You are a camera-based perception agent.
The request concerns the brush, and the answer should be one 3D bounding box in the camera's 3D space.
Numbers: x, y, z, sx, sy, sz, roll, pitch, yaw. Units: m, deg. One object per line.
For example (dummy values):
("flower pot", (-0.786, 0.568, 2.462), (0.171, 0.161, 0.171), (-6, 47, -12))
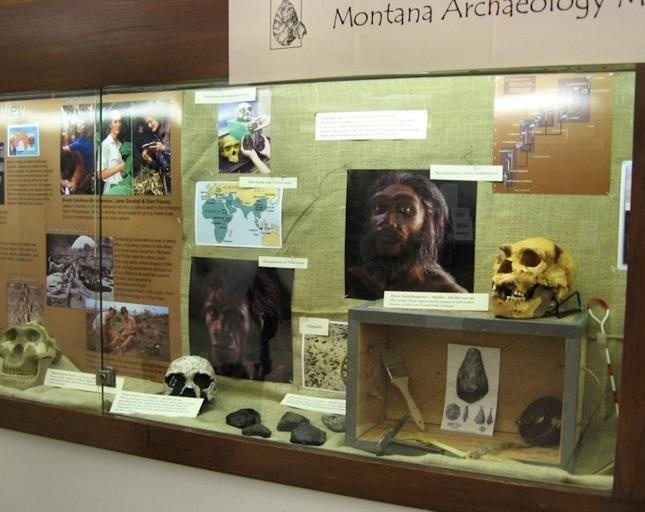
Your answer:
("brush", (0.244, 0.402, 1.740), (0.127, 0.242, 0.035), (0, 6, 6))
